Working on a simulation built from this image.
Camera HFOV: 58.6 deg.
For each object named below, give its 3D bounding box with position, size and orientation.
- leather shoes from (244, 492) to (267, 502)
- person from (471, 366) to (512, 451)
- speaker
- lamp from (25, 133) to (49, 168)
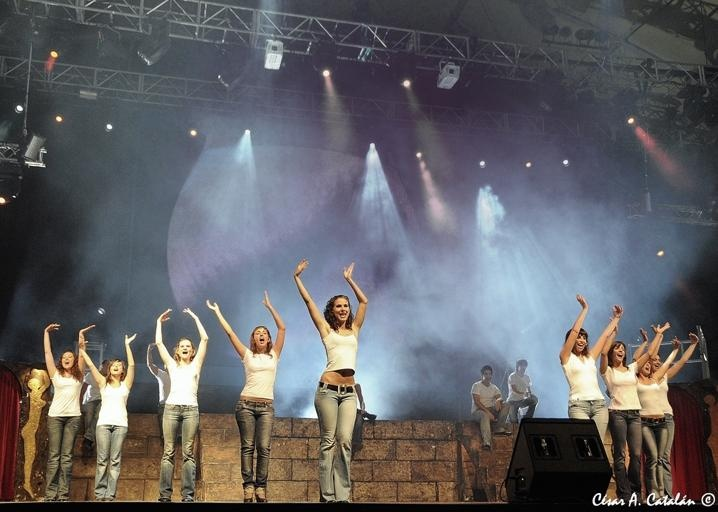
[{"bbox_3d":[-1.371,3.151,8.402,0.257,0.085,0.319,4,-10,-17],"label":"leather shoes"},{"bbox_3d":[2.401,2.749,11.761,0.771,1.429,0.673,10,-12,-42],"label":"person"},{"bbox_3d":[2.351,2.513,7.919,1.168,1.154,1.002,4,-32,-7],"label":"speaker"},{"bbox_3d":[-7.069,-2.299,13.713,0.263,0.708,0.532,10,-5,22],"label":"lamp"}]
